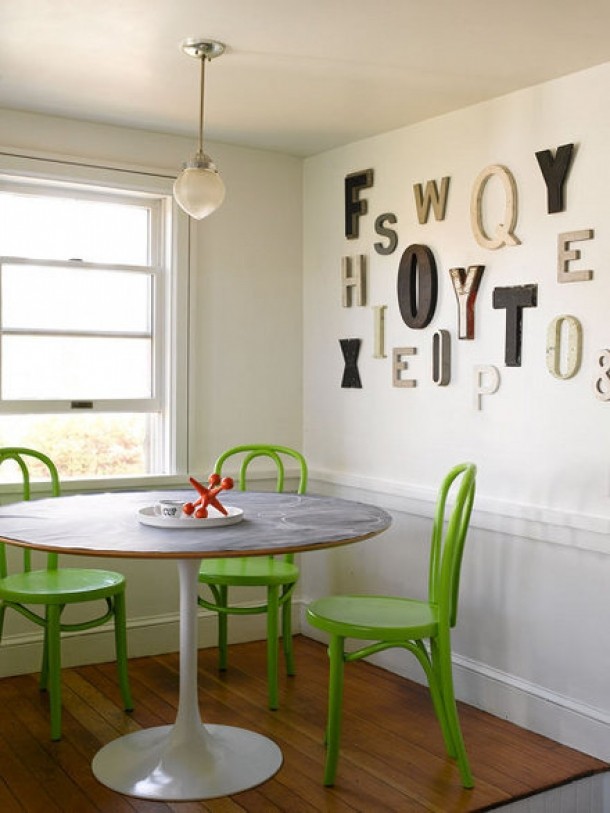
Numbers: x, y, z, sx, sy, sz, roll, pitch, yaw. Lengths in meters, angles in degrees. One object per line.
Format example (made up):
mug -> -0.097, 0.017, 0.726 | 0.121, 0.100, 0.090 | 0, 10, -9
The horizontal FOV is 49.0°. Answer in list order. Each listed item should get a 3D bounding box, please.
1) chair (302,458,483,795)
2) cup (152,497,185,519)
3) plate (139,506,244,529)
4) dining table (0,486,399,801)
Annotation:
chair -> 0.253, 0.608, 1.933 | 0.486, 0.848, 0.371 | 2, -1, -5
cup -> -0.381, 0.282, 1.842 | 0.065, 0.032, 0.046 | -4, -3, 17
plate -> -0.313, 0.299, 1.830 | 0.277, 0.047, 0.268 | 3, -5, -13
dining table -> -0.336, 0.618, 1.815 | 0.864, 0.573, 0.870 | 0, -3, -10
